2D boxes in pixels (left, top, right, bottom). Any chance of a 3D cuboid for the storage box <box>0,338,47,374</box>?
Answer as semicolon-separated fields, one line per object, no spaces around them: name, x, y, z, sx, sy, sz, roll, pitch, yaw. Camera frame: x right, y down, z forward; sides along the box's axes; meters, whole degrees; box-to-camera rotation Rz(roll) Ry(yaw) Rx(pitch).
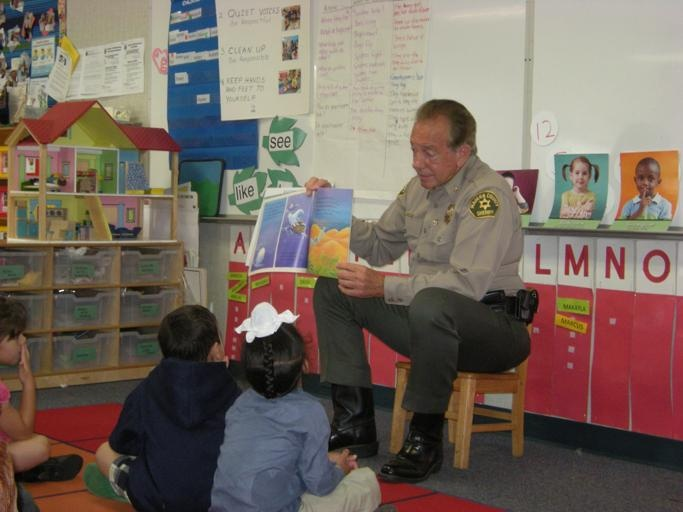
storage box;-2.030;0.625;3.594;0.200;0.200;0.289;2;-6;-35

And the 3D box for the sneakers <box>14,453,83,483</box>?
sneakers;-1.222;0.895;2.361;0.251;0.104;0.088;-13;38;-16

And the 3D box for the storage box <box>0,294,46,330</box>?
storage box;-2.051;0.315;3.629;0.266;0.210;0.209;-3;6;-38

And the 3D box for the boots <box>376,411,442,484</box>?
boots;0.311;0.780;2.346;0.311;0.318;0.139;-3;6;-36

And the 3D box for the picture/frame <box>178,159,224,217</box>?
picture/frame;-1.054;-0.512;4.251;0.410;0.462;0.044;3;2;34

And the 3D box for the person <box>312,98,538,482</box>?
person;0.367;0.103;2.570;0.818;1.640;0.899;2;-4;38

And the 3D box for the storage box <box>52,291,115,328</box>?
storage box;-1.764;0.354;3.826;0.251;0.165;0.255;0;1;-25

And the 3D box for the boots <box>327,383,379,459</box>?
boots;-0.008;0.733;2.577;0.332;0.351;0.152;-3;3;20

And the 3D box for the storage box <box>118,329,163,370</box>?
storage box;-1.444;0.642;4.089;0.311;0.201;0.313;-2;2;-34

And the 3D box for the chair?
chair;0.589;0.546;2.743;0.521;0.865;0.558;-3;-9;43

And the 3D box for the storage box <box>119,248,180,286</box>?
storage box;-1.397;0.067;4.012;0.250;0.209;0.390;-1;1;-16

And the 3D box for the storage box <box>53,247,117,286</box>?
storage box;-1.751;0.060;3.831;0.261;0.178;0.262;0;1;-35

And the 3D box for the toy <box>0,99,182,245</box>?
toy;-1.821;-0.604;4.138;1.101;0.645;0.770;1;1;-33

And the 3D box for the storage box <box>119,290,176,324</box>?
storage box;-1.351;0.343;3.841;0.270;0.178;0.275;-1;2;-24
